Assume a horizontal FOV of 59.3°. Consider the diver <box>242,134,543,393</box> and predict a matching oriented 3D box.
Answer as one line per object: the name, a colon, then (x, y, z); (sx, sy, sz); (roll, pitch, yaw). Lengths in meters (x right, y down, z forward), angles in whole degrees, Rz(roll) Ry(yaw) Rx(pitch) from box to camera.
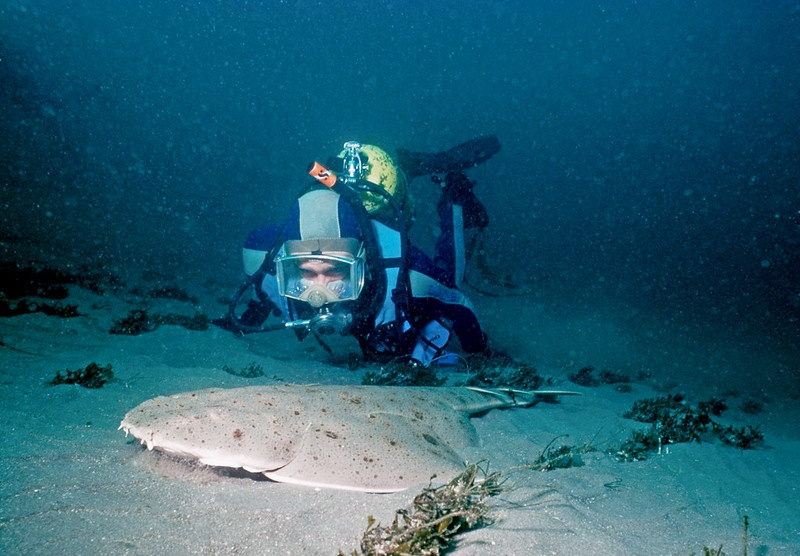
diver: (0.125, -1.815, 27.963); (8.286, 8.038, 13.708); (9, 25, 35)
